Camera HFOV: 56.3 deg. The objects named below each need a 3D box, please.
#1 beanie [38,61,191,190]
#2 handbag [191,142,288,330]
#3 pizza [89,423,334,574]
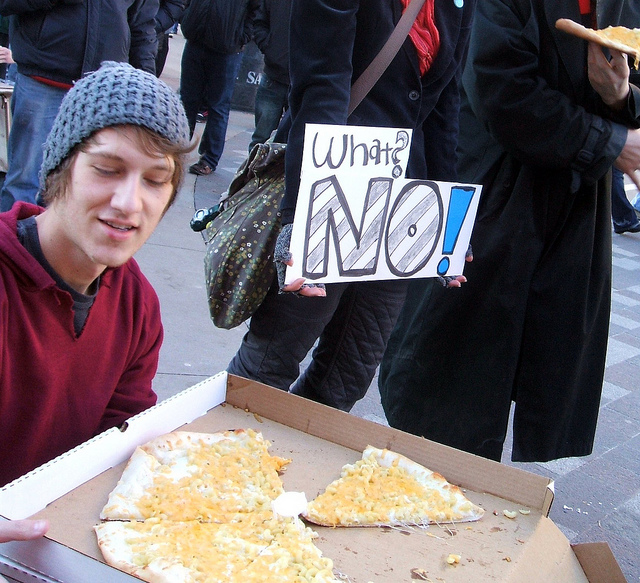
[{"bbox_3d":[-0.471,-0.352,1.366,0.335,0.314,0.173,7,14,-15],"label":"beanie"},{"bbox_3d":[-0.263,-0.222,2.211,0.354,0.671,0.490,7,8,-31],"label":"handbag"},{"bbox_3d":[-0.270,0.486,1.403,0.498,0.118,0.517,7,17,-20],"label":"pizza"}]
